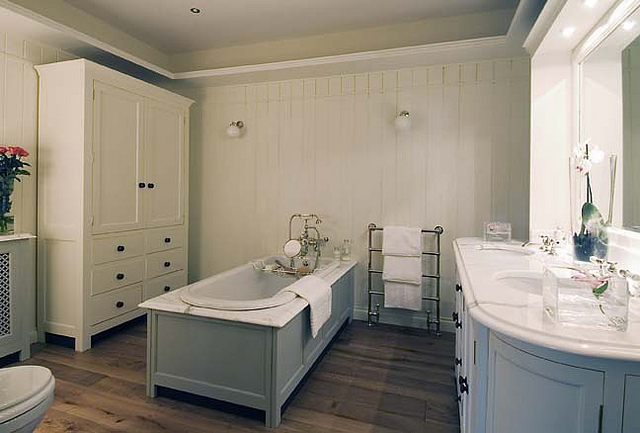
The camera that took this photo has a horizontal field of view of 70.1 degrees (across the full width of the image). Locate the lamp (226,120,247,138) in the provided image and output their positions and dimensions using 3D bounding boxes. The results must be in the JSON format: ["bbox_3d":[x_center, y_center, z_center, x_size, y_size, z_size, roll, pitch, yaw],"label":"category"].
[{"bbox_3d":[-0.959,-0.995,5.244,0.192,0.274,0.204,1,7,-4],"label":"lamp"}]

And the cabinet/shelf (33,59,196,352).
[{"bbox_3d":[-2.057,-0.141,4.606,0.495,2.670,1.436,3,7,42],"label":"cabinet/shelf"}]

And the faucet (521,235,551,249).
[{"bbox_3d":[1.816,0.215,3.802,0.158,0.062,0.133,-2,0,9],"label":"faucet"}]

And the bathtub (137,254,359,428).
[{"bbox_3d":[-0.462,0.892,4.010,1.031,0.663,1.698,1,3,19],"label":"bathtub"}]

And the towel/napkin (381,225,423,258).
[{"bbox_3d":[0.870,0.248,4.741,0.166,0.326,0.443,-10,7,-44],"label":"towel/napkin"}]

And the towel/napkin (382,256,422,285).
[{"bbox_3d":[0.836,0.543,4.666,0.310,0.310,0.098,4,-3,12],"label":"towel/napkin"}]

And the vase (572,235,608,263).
[{"bbox_3d":[1.836,0.211,3.116,0.179,0.172,0.162,-4,6,-34],"label":"vase"}]

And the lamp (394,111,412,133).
[{"bbox_3d":[0.848,-0.982,4.672,0.187,0.248,0.187,8,12,39],"label":"lamp"}]

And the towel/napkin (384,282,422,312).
[{"bbox_3d":[0.843,0.820,4.689,0.316,0.317,0.100,0,4,16],"label":"towel/napkin"}]
